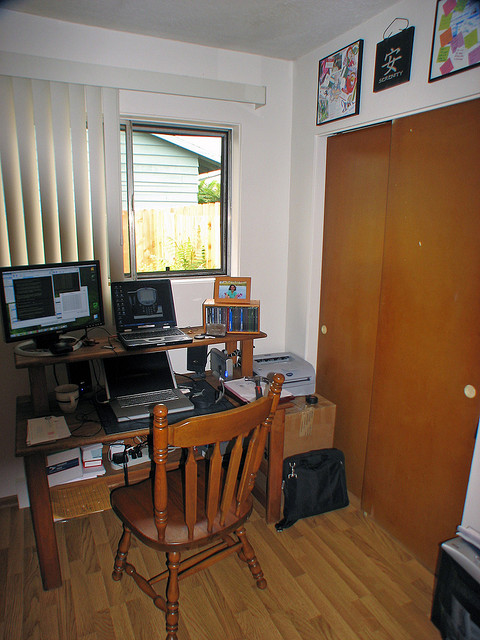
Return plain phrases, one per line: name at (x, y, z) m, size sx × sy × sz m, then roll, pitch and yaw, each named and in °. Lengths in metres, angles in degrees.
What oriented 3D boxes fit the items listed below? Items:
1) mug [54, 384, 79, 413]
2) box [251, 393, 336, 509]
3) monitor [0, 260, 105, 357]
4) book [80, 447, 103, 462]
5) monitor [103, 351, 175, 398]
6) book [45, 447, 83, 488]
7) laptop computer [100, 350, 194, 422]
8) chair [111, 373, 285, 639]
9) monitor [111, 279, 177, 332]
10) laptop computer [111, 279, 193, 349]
mug at (-0.785, 0.341, 2.060) m, size 0.093 × 0.101 × 0.117 m, roll -6°, pitch 19°, yaw -33°
box at (0.316, 0.730, 2.773) m, size 0.447 × 0.841 × 0.484 m, roll -9°, pitch 31°, yaw -16°
monitor at (-0.816, -0.054, 1.959) m, size 0.190 × 0.352 × 0.356 m, roll 11°, pitch 15°, yaw 33°
book at (-0.688, 0.628, 2.103) m, size 0.071 × 0.079 × 0.055 m, roll 1°, pitch 15°, yaw -15°
monitor at (-0.472, 0.255, 2.174) m, size 0.341 × 0.241 × 0.278 m, roll -6°, pitch -9°, yaw -27°
book at (-0.788, 0.659, 2.032) m, size 0.145 × 0.116 × 0.105 m, roll -5°, pitch 13°, yaw -27°
laptop computer at (-0.452, 0.288, 2.157) m, size 0.360 × 0.238 × 0.330 m, roll -6°, pitch 8°, yaw -25°
chair at (-0.184, 0.768, 1.799) m, size 0.540 × 1.080 × 0.513 m, roll -14°, pitch 34°, yaw -33°
monitor at (-0.467, -0.075, 2.245) m, size 0.315 × 0.247 × 0.226 m, roll -7°, pitch 15°, yaw -26°
laptop computer at (-0.419, -0.035, 2.171) m, size 0.326 × 0.286 × 0.286 m, roll -6°, pitch 13°, yaw -31°
